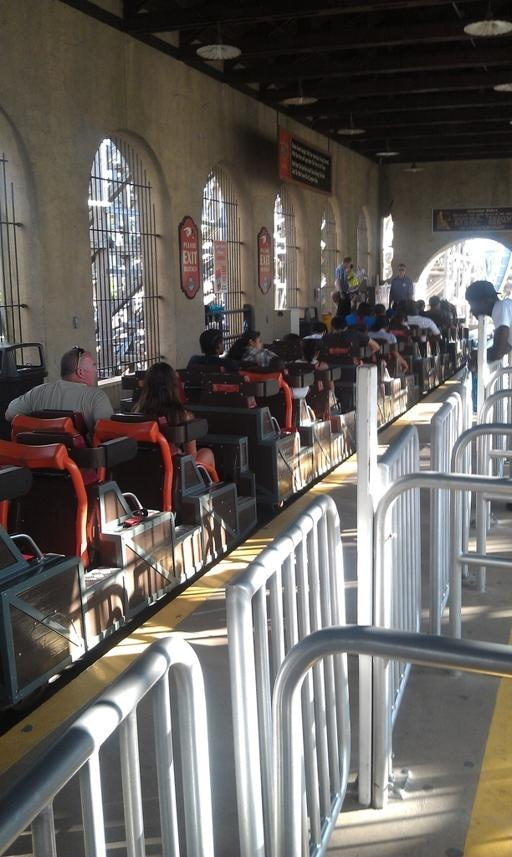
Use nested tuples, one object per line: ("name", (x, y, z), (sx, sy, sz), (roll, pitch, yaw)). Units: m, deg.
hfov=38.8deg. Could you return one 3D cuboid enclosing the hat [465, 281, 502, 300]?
("hat", (1.887, -1.165, 6.054), (0.235, 0.158, 0.171), (-14, 14, -37))
